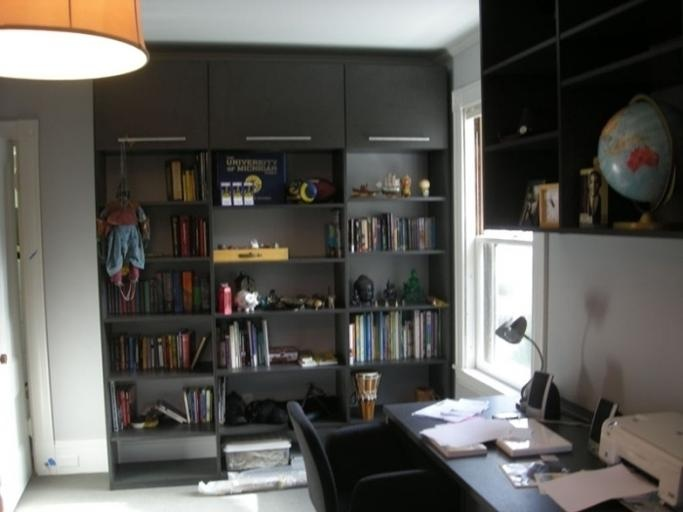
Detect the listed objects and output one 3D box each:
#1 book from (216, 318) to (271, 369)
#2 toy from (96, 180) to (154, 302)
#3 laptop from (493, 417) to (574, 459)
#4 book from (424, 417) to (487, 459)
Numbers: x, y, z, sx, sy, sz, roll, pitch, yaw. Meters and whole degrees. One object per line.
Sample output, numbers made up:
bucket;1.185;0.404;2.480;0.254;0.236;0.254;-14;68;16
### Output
book;-0.752;0.681;4.383;0.324;0.454;0.421;1;-2;-14
toy;-1.586;-0.142;4.151;0.351;0.910;0.203;-1;-13;-19
laptop;0.899;0.870;2.794;0.314;0.045;0.423;-6;5;-8
book;0.547;0.866;2.734;0.190;0.045;0.197;-2;7;-15
